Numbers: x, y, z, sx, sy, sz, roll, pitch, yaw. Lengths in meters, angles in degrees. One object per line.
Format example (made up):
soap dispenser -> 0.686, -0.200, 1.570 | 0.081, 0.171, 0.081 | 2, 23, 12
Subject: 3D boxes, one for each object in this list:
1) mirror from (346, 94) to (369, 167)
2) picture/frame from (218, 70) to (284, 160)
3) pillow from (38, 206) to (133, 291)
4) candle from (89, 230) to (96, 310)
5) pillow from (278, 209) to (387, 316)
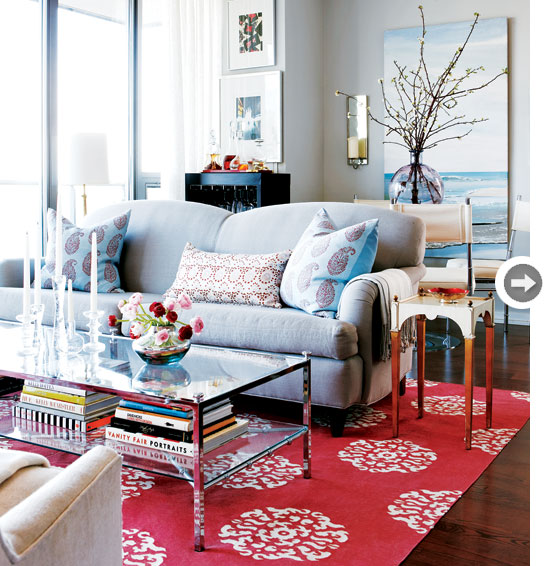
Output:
mirror -> 0.810, -1.508, 5.379 | 0.243, 0.695, 0.117 | 1, 6, 20
picture/frame -> -0.201, -1.605, 5.140 | 0.889, 1.104, 0.111 | 5, 10, 28
pillow -> -1.103, -0.200, 3.245 | 0.635, 0.564, 0.235 | 4, -13, 24
candle -> -0.686, -0.047, 2.056 | 0.028, 0.295, 0.230 | -2, 6, -19
pillow -> 0.214, -0.078, 2.958 | 0.434, 0.675, 0.733 | 1, 4, -31
